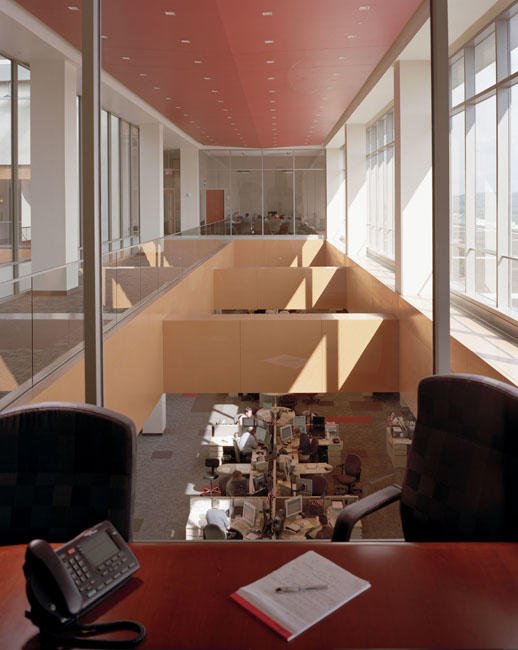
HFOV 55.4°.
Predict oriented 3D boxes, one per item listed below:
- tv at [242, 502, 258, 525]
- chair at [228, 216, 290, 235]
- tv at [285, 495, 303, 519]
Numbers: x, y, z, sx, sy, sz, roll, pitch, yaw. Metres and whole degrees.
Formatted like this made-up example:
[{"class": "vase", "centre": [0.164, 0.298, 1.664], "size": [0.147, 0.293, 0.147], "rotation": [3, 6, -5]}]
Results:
[{"class": "tv", "centre": [-0.074, 1.478, 3.906], "size": [0.091, 0.193, 0.188], "rotation": [-4, -26, 4]}, {"class": "chair", "centre": [-0.001, -4.324, 21.370], "size": [2.623, 0.814, 0.772], "rotation": [2, 8, 4]}, {"class": "tv", "centre": [0.266, 1.416, 3.884], "size": [0.149, 0.172, 0.089], "rotation": [-2, -24, -5]}]
